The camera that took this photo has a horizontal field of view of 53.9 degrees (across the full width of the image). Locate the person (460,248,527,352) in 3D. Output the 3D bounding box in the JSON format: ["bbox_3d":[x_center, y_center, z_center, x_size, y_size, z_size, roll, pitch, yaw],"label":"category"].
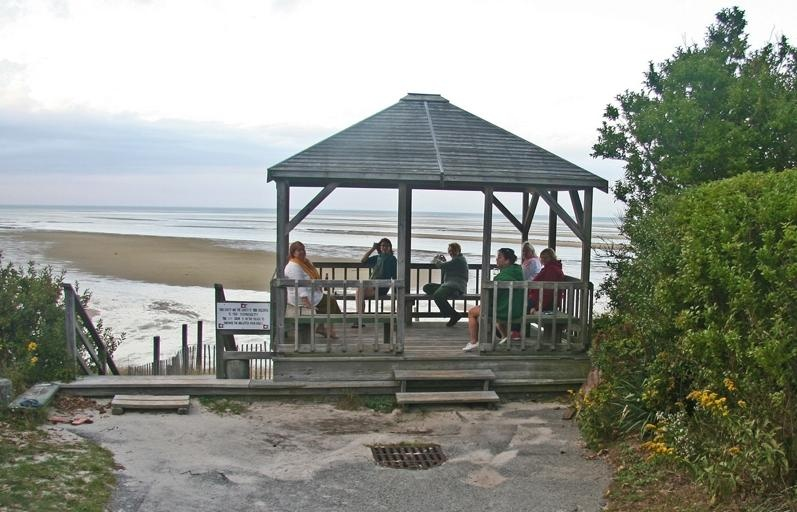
[{"bbox_3d":[1.792,0.867,14.758,1.081,1.936,0.908,-1,0,8],"label":"person"}]

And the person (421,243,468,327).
[{"bbox_3d":[1.013,0.648,16.667,1.010,1.773,0.793,-3,-15,24],"label":"person"}]

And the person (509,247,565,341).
[{"bbox_3d":[2.669,0.790,15.128,1.144,1.843,0.738,1,-10,29],"label":"person"}]

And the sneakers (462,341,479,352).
[{"bbox_3d":[1.353,1.785,14.775,0.343,0.144,0.125,-4,2,0],"label":"sneakers"}]
